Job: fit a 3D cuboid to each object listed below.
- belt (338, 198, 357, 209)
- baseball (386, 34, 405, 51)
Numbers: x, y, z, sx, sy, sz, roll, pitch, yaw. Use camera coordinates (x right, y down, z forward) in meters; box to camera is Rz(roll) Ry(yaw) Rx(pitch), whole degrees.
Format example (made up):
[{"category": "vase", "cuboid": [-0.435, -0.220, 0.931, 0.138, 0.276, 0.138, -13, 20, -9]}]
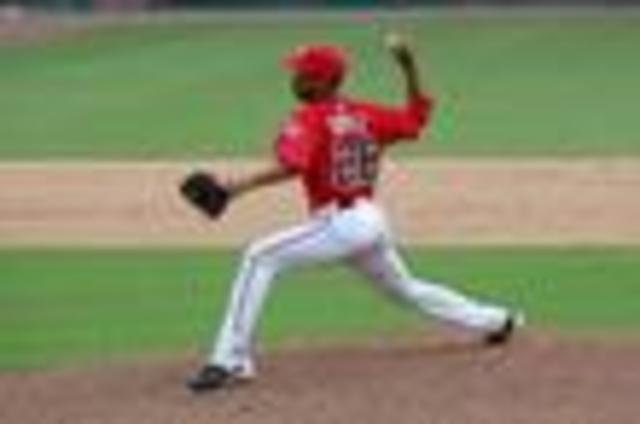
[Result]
[{"category": "belt", "cuboid": [0.387, -0.111, 17.406, 0.268, 0.145, 0.062, -1, 13, 1]}, {"category": "baseball", "cuboid": [1.120, -2.508, 17.829, 0.275, 0.192, 0.216, -11, 4, -26]}]
